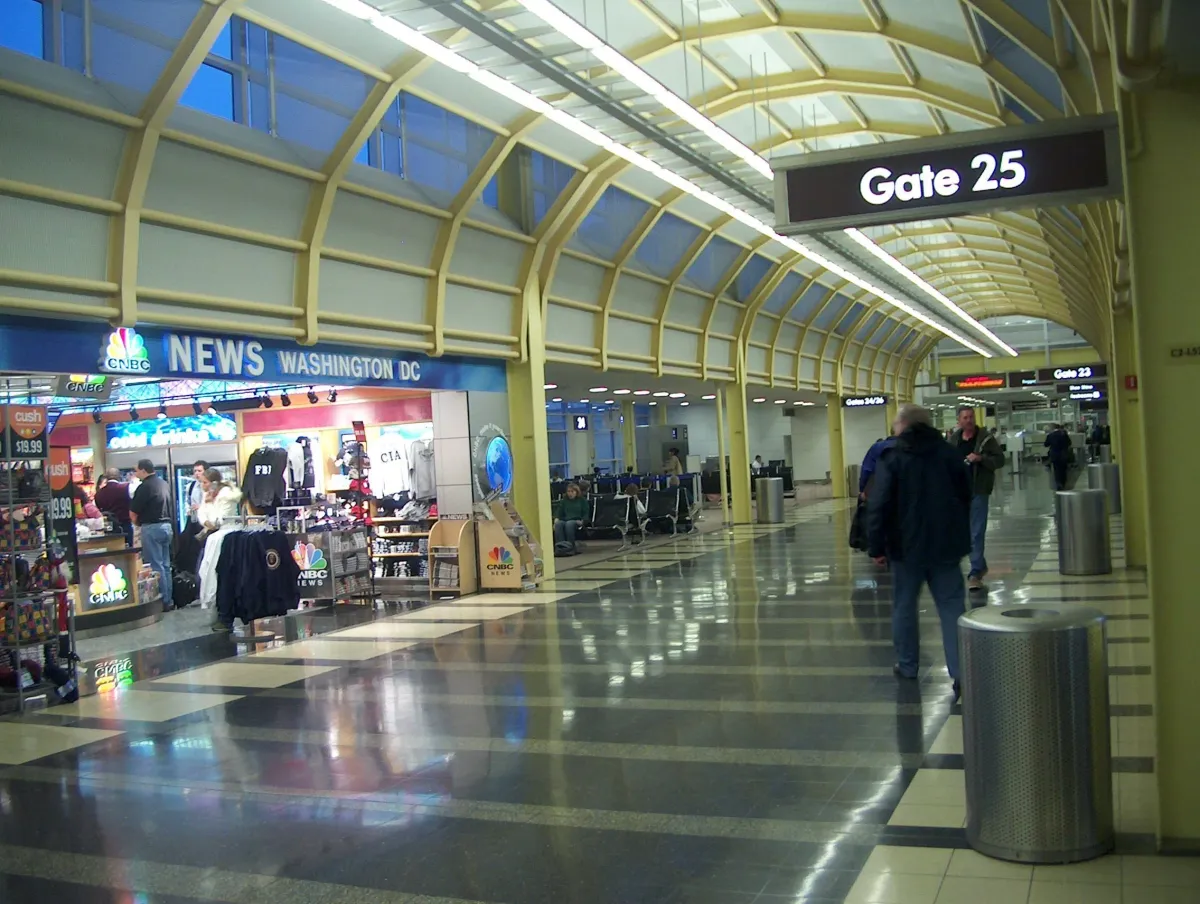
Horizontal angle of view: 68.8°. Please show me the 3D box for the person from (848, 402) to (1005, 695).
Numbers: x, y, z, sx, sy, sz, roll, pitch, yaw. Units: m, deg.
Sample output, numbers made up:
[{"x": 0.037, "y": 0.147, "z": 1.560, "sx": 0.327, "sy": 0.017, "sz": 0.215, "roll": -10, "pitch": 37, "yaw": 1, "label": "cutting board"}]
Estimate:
[{"x": 2.662, "y": 0.798, "z": 7.313, "sx": 0.793, "sy": 2.449, "sz": 0.561, "roll": -4, "pitch": 0, "yaw": 28, "label": "person"}]

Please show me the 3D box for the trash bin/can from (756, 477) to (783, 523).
[{"x": 4.636, "y": 1.339, "z": 24.248, "sx": 0.720, "sy": 1.287, "sz": 0.661, "roll": -4, "pitch": 0, "yaw": 18, "label": "trash bin/can"}]

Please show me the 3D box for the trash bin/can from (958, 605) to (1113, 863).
[{"x": 2.223, "y": 1.459, "z": 4.468, "sx": 0.718, "sy": 1.343, "sz": 0.338, "roll": -4, "pitch": 0, "yaw": 20, "label": "trash bin/can"}]

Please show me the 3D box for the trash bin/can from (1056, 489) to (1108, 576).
[{"x": 6.539, "y": 1.095, "z": 11.862, "sx": 0.621, "sy": 1.227, "sz": 0.561, "roll": -4, "pitch": 0, "yaw": 24, "label": "trash bin/can"}]

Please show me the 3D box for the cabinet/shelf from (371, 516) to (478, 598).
[{"x": -3.170, "y": 1.813, "z": 15.563, "sx": 1.220, "sy": 1.355, "sz": 3.050, "roll": -4, "pitch": 0, "yaw": -27, "label": "cabinet/shelf"}]
